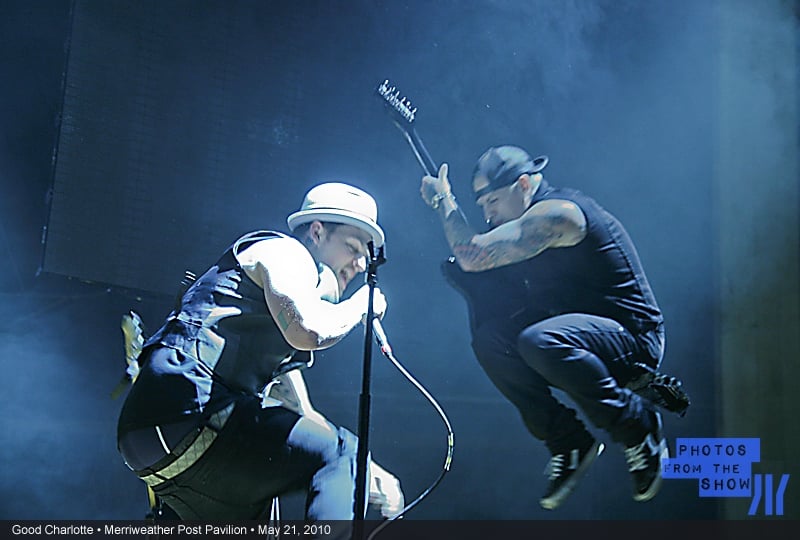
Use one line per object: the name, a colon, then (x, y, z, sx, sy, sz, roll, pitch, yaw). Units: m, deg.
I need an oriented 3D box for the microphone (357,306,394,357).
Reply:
microphone: (-0.105, 0.303, 5.042, 0.110, 0.205, 0.051, -18, 3, 7)

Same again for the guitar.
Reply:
guitar: (0.167, -0.257, 5.446, 0.573, 1.417, 0.201, -27, -2, -15)

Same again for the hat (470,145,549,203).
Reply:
hat: (0.524, -0.509, 5.290, 0.327, 0.180, 0.245, -31, 20, -7)

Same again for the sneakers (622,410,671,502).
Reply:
sneakers: (1.213, 0.909, 5.201, 0.156, 0.460, 0.193, -1, -12, 41)
